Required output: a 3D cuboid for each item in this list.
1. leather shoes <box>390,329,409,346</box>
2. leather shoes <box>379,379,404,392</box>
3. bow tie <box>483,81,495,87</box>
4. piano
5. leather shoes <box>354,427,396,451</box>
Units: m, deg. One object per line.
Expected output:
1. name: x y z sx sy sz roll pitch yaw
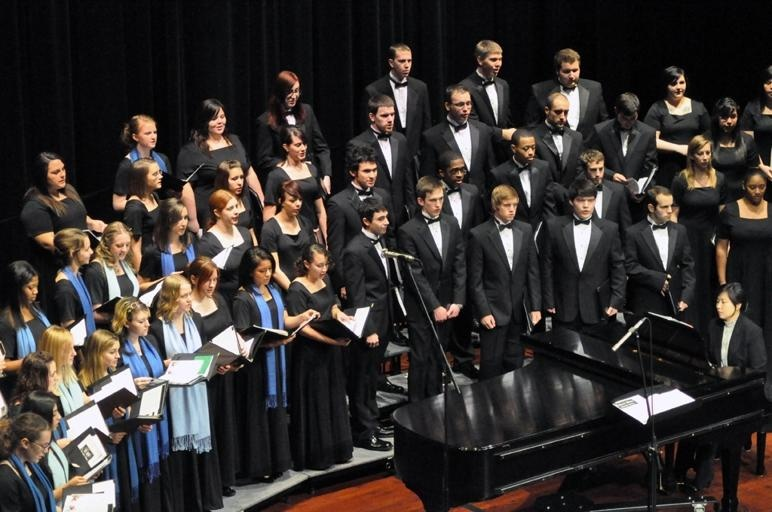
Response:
1. leather shoes: 0.130 0.735 8.321 0.165 0.056 0.169 14 20 8
2. leather shoes: 0.044 1.135 7.908 0.159 0.059 0.102 19 -8 -4
3. bow tie: 0.976 -1.651 8.614 0.075 0.055 0.025 -2 14 -34
4. piano: 1.154 1.083 6.408 1.989 0.911 1.311 -14 15 -18
5. leather shoes: -0.106 1.465 7.310 0.264 0.099 0.161 -6 9 14
